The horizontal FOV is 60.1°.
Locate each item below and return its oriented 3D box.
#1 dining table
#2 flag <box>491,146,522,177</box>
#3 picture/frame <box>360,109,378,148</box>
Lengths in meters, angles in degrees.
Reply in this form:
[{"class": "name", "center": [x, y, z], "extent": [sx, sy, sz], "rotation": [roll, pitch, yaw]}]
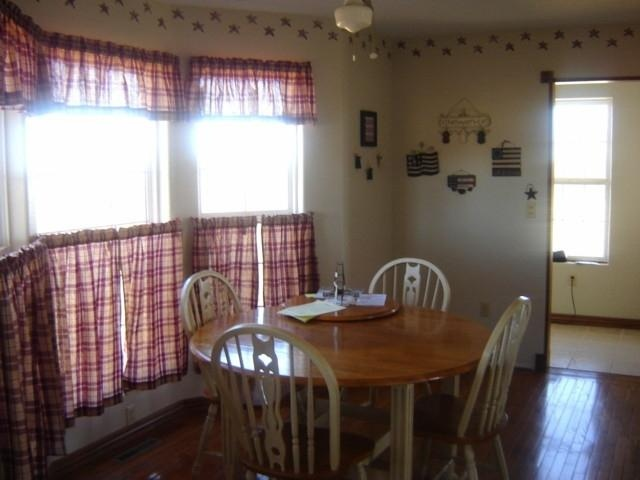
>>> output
[{"class": "dining table", "center": [0.257, 0.569, 3.013], "extent": [1.104, 0.771, 1.167], "rotation": [0, 6, 26]}, {"class": "flag", "center": [1.632, -0.704, 4.846], "extent": [0.241, 0.323, 0.032], "rotation": [0, -17, 11]}, {"class": "picture/frame", "center": [0.415, -0.978, 4.808], "extent": [0.038, 0.411, 0.331], "rotation": [1, 2, 33]}]
